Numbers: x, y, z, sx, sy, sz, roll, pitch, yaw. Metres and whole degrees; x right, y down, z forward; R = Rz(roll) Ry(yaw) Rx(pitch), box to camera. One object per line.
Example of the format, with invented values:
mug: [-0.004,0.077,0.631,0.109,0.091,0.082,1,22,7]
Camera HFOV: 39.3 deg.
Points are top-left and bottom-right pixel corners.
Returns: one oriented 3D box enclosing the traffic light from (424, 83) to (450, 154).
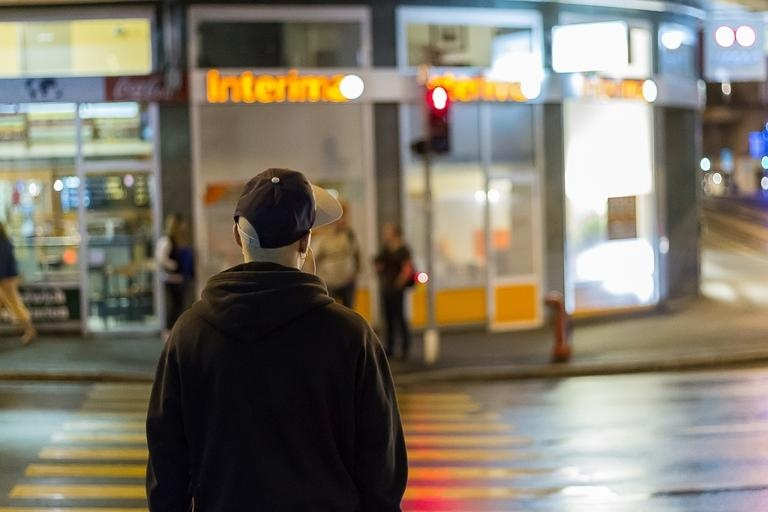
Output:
traffic light: [0.598,-1.499,11.806,0.261,0.774,0.589,-2,9,3]

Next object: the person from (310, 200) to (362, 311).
person: [-0.654,0.143,13.726,0.573,1.900,0.560,-6,31,0]

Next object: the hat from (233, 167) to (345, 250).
hat: [-0.576,-0.371,6.415,0.476,0.390,0.703,30,41,32]
